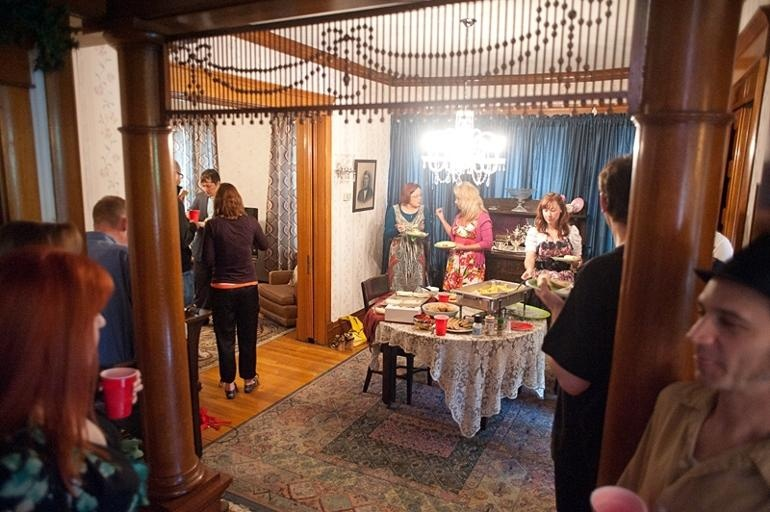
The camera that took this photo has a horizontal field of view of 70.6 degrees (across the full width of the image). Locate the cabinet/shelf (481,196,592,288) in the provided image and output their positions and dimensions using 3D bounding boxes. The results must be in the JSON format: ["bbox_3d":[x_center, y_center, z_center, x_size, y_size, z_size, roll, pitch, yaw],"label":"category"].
[{"bbox_3d":[1.689,-0.150,6.008,1.049,1.007,0.588,2,5,33],"label":"cabinet/shelf"}]

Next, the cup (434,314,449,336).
[{"bbox_3d":[0.419,0.531,4.145,0.140,0.147,0.125,-2,-3,-26],"label":"cup"}]

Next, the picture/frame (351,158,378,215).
[{"bbox_3d":[-0.235,-0.904,7.070,0.023,0.696,0.814,6,3,-20],"label":"picture/frame"}]

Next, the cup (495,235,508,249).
[{"bbox_3d":[1.571,-0.183,7.372,0.131,0.066,0.201,0,19,17],"label":"cup"}]

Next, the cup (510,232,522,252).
[{"bbox_3d":[1.743,-0.170,7.204,0.142,0.249,0.236,-2,6,-27],"label":"cup"}]

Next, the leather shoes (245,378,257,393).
[{"bbox_3d":[-1.234,1.209,5.068,0.062,0.074,0.171,2,18,10],"label":"leather shoes"}]

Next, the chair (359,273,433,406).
[{"bbox_3d":[0.182,0.735,5.110,0.759,1.088,0.789,-1,1,1],"label":"chair"}]

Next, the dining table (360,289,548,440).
[{"bbox_3d":[0.636,0.808,4.300,1.047,0.581,1.095,7,13,27],"label":"dining table"}]

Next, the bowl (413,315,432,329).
[{"bbox_3d":[0.306,0.528,4.337,0.104,0.059,0.106,2,4,0],"label":"bowl"}]

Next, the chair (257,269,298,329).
[{"bbox_3d":[-1.350,0.547,6.924,0.590,0.603,0.838,-1,14,-23],"label":"chair"}]

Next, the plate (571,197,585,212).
[{"bbox_3d":[2.437,-0.643,6.848,0.168,0.173,0.040,26,22,31],"label":"plate"}]

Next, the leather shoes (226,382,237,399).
[{"bbox_3d":[-1.391,1.227,4.918,0.062,0.068,0.167,0,17,-4],"label":"leather shoes"}]

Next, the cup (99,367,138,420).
[{"bbox_3d":[-1.126,0.590,2.352,0.132,0.191,0.199,5,9,13],"label":"cup"}]
